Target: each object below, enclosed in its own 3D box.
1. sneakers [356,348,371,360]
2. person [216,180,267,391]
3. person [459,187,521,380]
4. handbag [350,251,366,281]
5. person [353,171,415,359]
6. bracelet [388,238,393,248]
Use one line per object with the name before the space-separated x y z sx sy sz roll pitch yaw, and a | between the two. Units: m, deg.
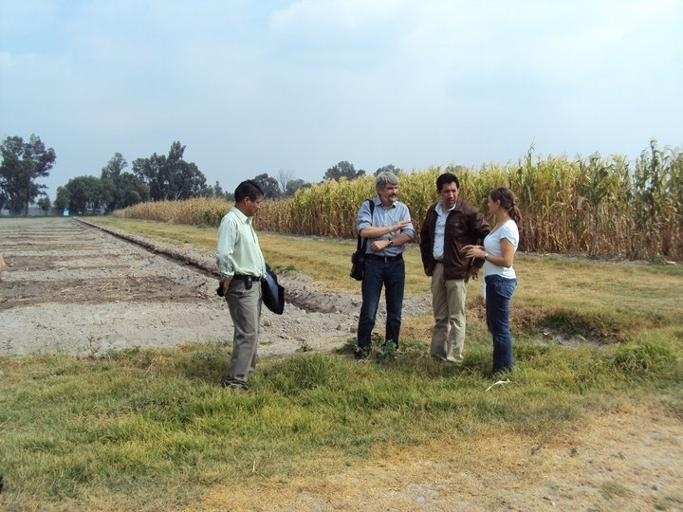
sneakers | 0.306 1.371 7.980 0.131 0.166 0.170 5 -18 -12
person | -1.270 0.282 6.923 0.650 2.550 0.443 1 1 -22
person | 1.975 0.271 7.064 0.592 1.802 0.439 2 1 18
handbag | 0.211 0.111 7.969 0.278 0.592 0.400 1 4 -3
person | 0.606 0.091 7.824 0.806 2.625 0.632 2 1 11
bracelet | 0.684 -0.230 7.581 0.057 0.097 0.079 5 2 22
